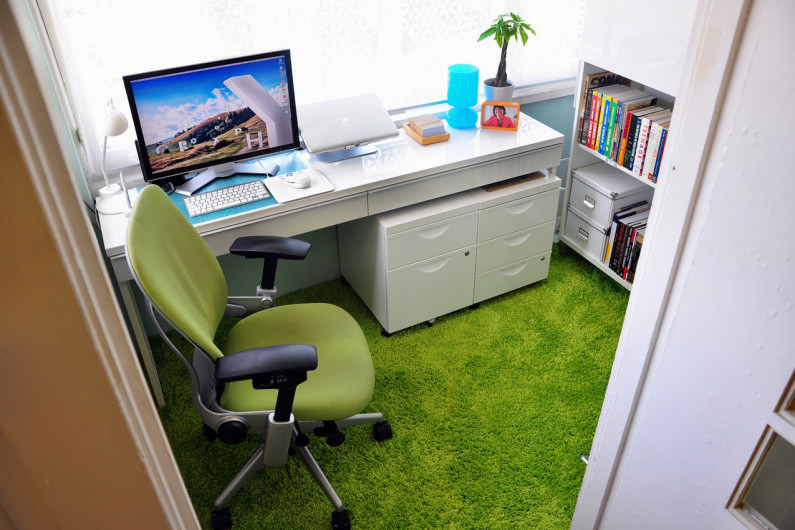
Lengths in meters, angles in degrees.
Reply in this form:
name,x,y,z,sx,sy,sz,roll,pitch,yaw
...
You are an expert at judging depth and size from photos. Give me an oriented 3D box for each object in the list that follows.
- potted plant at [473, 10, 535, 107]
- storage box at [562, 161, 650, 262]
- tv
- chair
name,x,y,z,sx,sy,sz,roll,pitch,yaw
potted plant,0.579,-1.125,2.945,0.250,0.477,0.434,-2,34,10
storage box,1.150,-0.307,2.944,0.293,0.407,0.402,-16,44,-22
tv,-0.847,-0.637,2.391,0.721,0.500,0.237,-20,54,-20
chair,-0.468,0.318,2.005,0.752,1.292,0.715,-11,34,-4
